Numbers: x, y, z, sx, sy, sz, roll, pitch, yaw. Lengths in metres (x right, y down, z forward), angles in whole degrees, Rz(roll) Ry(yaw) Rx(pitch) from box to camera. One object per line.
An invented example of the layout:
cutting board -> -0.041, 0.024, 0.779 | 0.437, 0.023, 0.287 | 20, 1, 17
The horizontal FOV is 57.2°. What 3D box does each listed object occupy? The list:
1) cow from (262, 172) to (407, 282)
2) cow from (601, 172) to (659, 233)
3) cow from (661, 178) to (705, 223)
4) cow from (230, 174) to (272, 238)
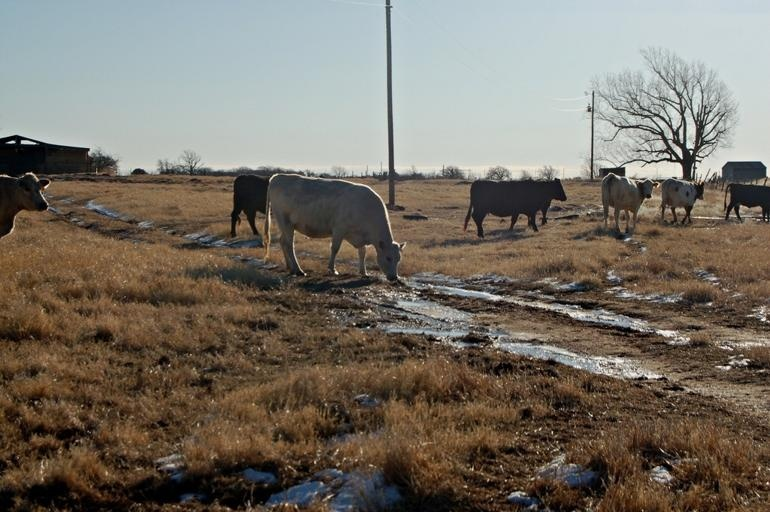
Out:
cow -> -1.559, -0.688, 19.962 | 1.950, 2.778, 4.370 | -13, 21, -43
cow -> 10.101, -2.086, 28.994 | 2.969, 2.388, 0.990 | 2, 0, -36
cow -> 14.249, -2.565, 33.368 | 2.786, 2.376, 0.933 | 1, 1, -28
cow -> -5.394, -2.089, 27.768 | 0.741, 2.060, 3.217 | 2, -8, -7
